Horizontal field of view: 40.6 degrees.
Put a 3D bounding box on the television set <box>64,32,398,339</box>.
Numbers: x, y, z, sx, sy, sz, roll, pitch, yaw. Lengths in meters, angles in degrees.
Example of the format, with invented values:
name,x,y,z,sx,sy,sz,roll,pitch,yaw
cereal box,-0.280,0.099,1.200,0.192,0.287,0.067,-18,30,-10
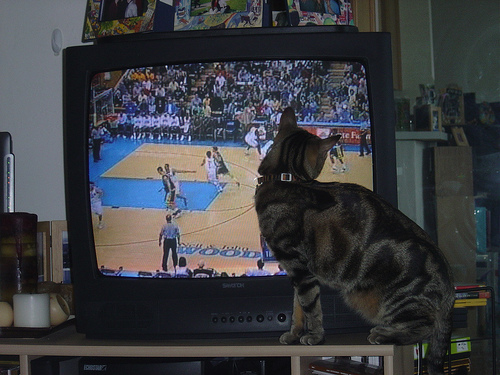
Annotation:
name,x,y,z,sx,sy,sz,roll,pitch,yaw
television set,-0.126,-0.078,3.110,1.409,1.335,0.831,-2,13,-11

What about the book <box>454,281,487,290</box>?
name,x,y,z,sx,sy,sz,roll,pitch,yaw
book,1.066,0.475,3.309,0.094,0.024,0.098,-1,-5,0
